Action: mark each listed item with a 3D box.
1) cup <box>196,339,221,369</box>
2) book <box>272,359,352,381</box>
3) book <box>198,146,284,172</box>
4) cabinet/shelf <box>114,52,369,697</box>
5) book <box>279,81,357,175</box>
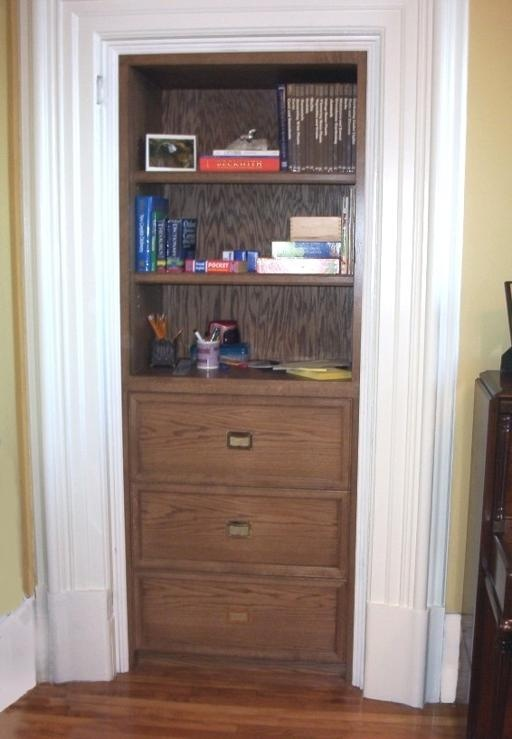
[{"bbox_3d":[-0.150,-0.046,2.027,0.067,0.094,0.076,-1,0,-4],"label":"cup"},{"bbox_3d":[0.171,0.001,1.962,0.237,0.035,0.205,0,8,1],"label":"book"},{"bbox_3d":[-0.046,-0.589,1.853,0.230,0.060,0.023,1,7,4],"label":"book"},{"bbox_3d":[-0.034,0.039,1.980,0.585,1.788,0.260,0,14,0],"label":"cabinet/shelf"},{"bbox_3d":[0.169,-0.671,1.822,0.210,0.230,0.026,1,7,3],"label":"book"}]
